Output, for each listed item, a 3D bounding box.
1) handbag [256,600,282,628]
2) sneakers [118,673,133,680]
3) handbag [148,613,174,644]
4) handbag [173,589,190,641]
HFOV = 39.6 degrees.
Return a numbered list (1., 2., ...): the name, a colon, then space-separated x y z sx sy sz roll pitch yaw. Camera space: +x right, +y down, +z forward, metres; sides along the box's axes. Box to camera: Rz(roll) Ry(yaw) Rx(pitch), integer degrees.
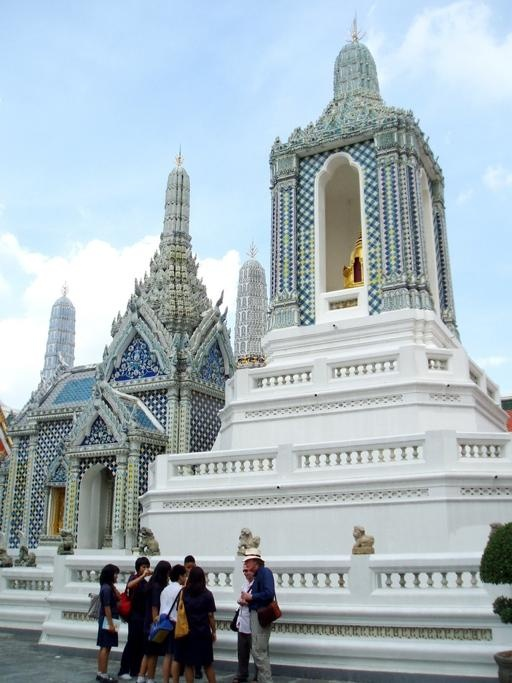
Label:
1. handbag: 0.098 2.108 5.461 0.121 0.200 0.159 -12 -21 38
2. sneakers: -1.152 2.958 6.270 0.126 0.050 0.046 -5 -11 27
3. handbag: -0.753 2.311 5.691 0.098 0.243 0.236 22 17 -22
4. handbag: -0.584 2.127 5.508 0.094 0.359 0.187 10 -19 -29
